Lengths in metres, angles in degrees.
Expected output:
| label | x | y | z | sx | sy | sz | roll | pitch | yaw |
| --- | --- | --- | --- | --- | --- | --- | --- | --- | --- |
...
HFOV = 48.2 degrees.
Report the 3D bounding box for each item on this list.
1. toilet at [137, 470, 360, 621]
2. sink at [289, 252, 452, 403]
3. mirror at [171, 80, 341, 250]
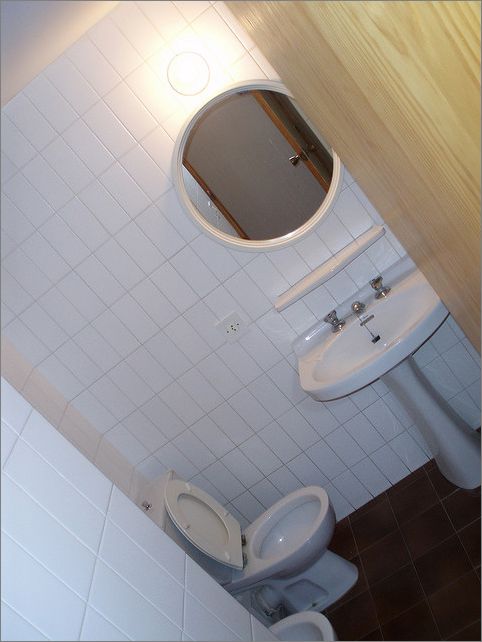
| label | x | y | z | sx | sy | sz | roll | pitch | yaw |
| --- | --- | --- | --- | --- | --- | --- | --- | --- | --- |
| toilet | 0.037 | 0.858 | 2.027 | 0.637 | 0.607 | 0.322 | -22 | 18 | 2 |
| sink | 0.470 | 0.059 | 1.882 | 0.599 | 0.200 | 0.521 | -38 | 14 | 13 |
| mirror | 0.040 | -0.565 | 2.060 | 0.583 | 0.545 | 0.325 | -36 | -16 | 11 |
